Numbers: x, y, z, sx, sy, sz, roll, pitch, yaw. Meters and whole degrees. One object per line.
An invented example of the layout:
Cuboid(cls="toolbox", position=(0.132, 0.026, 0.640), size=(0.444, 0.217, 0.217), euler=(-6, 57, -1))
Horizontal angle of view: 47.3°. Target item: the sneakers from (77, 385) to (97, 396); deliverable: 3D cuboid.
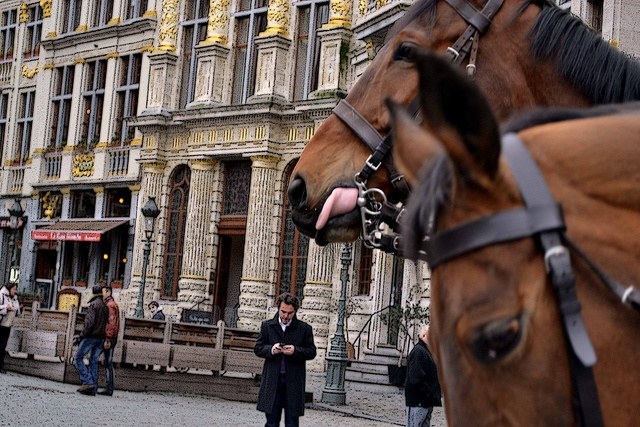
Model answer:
Cuboid(cls="sneakers", position=(-4.612, 3.477, 14.517), size=(0.381, 0.210, 0.181), euler=(5, 0, -1))

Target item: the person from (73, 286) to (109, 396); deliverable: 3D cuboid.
Cuboid(cls="person", position=(-4.528, 2.482, 14.526), size=(0.529, 2.148, 0.767), euler=(9, -10, -17))
